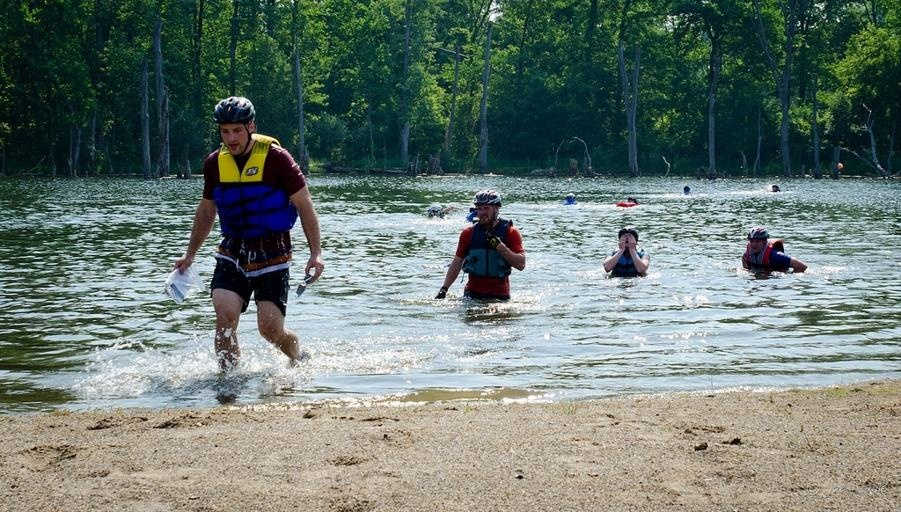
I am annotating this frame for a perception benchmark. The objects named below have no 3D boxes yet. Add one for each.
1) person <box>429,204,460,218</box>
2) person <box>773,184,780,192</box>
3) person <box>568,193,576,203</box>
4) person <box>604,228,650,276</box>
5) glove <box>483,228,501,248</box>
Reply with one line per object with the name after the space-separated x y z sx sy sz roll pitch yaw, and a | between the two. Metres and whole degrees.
-0.621 -2.225 55.795 0.905 0.506 1.249 -4 15 -14 | person
22.812 -4.717 75.150 0.430 0.480 1.242 0 9 10 | person
6.972 -3.291 62.450 0.620 0.583 1.642 -2 -3 8 | person
6.762 -0.117 41.737 1.629 1.851 0.788 0 5 9 | person
1.459 -0.645 37.504 0.199 0.570 0.594 -43 13 -34 | glove
